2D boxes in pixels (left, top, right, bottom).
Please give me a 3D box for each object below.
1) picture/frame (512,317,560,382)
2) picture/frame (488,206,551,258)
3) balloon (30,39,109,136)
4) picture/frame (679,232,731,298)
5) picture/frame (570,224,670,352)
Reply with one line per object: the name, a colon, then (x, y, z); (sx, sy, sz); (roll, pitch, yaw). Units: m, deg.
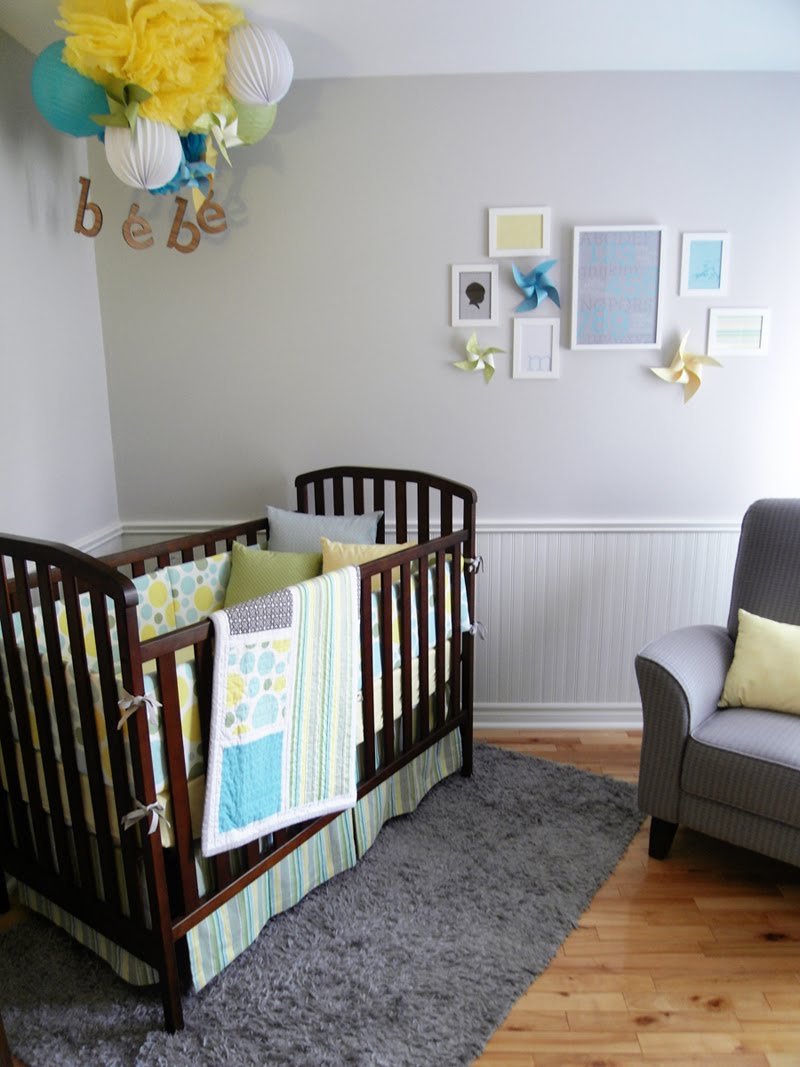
picture/frame: (0.448, -0.617, 2.640); (0.171, 0.257, 0.012); (-1, 19, 6)
picture/frame: (0.383, -0.971, 2.562); (0.117, 0.178, 0.009); (8, 20, -7)
balloon: (-0.740, -1.016, 1.811); (0.145, 0.161, 0.196); (-6, 13, -29)
picture/frame: (0.967, -0.866, 2.551); (0.166, 0.232, 0.016); (0, 8, 2)
picture/frame: (0.707, -0.807, 2.569); (0.340, 0.490, 0.022); (-1, 20, 3)
